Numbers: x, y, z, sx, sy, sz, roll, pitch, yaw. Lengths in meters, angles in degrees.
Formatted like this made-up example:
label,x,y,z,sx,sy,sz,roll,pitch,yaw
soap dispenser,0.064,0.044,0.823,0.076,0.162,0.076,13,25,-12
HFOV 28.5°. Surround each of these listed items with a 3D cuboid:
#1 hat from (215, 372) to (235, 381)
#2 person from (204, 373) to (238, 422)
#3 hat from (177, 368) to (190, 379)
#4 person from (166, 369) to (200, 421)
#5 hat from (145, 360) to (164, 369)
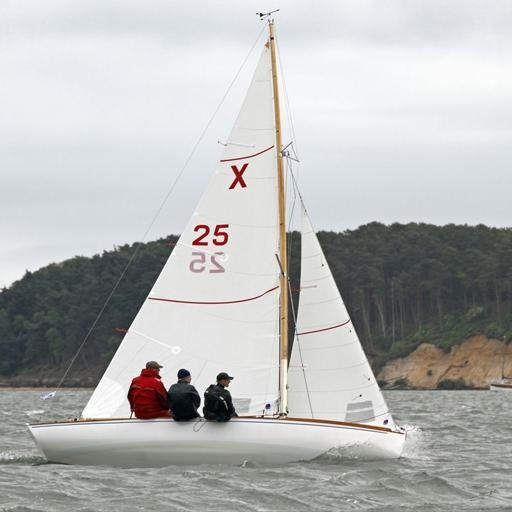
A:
label,x,y,z,sx,sy,sz,roll,pitch,yaw
hat,-0.476,1.879,15.480,0.227,0.117,0.143,-1,4,-13
person,-0.537,2.165,15.443,0.521,0.738,0.595,0,-4,21
hat,-1.111,1.809,15.469,0.151,0.118,0.156,-4,2,9
person,-1.089,2.153,15.448,0.598,0.761,0.666,-6,-13,37
hat,-1.573,1.701,15.572,0.219,0.129,0.136,-2,5,-16
